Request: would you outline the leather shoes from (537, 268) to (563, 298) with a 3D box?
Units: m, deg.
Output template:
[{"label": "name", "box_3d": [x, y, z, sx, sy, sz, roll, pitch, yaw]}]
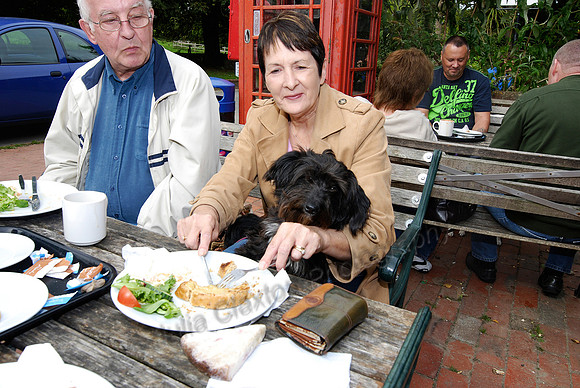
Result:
[{"label": "leather shoes", "box_3d": [3.108, 1.018, 4.266, 0.186, 0.206, 0.416, 7, 23, 25]}]

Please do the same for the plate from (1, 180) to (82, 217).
[{"label": "plate", "box_3d": [-1.724, 0.015, 2.489, 0.404, 0.059, 0.416, 5, 26, -3]}]

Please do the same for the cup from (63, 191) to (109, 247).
[{"label": "cup", "box_3d": [-1.186, 0.134, 2.166, 0.249, 0.317, 0.334, 7, 8, 40]}]

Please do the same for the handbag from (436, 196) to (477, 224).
[{"label": "handbag", "box_3d": [1.683, 0.118, 3.789, 0.419, 0.243, 0.389, 2, 17, 6]}]

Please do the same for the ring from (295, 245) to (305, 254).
[{"label": "ring", "box_3d": [0.052, 0.304, 1.952, 0.039, 0.018, 0.045, 16, -10, 42]}]

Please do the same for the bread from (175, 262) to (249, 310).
[{"label": "bread", "box_3d": [-0.368, 0.418, 1.744, 0.211, 0.165, 0.258, 12, 14, 43]}]

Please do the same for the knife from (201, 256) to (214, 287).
[{"label": "knife", "box_3d": [-0.445, 0.422, 1.931, 0.042, 0.027, 0.252, -5, 44, -17]}]
